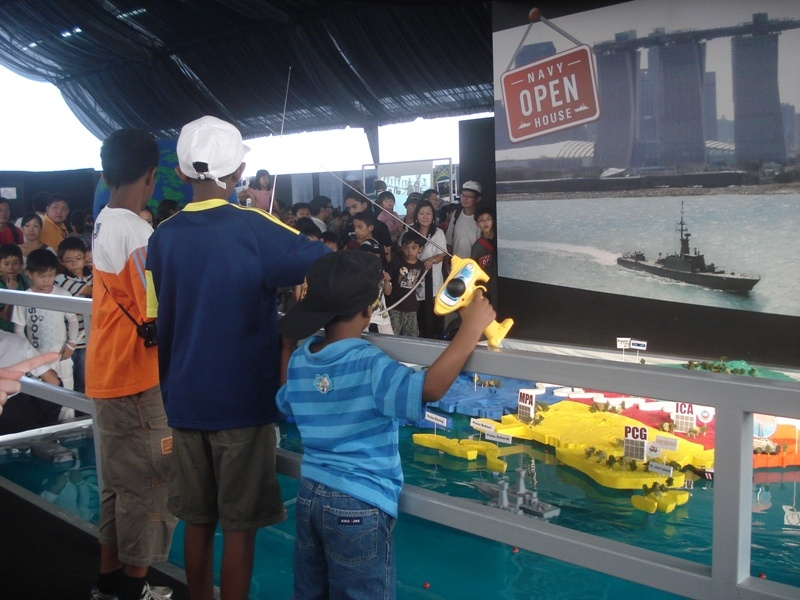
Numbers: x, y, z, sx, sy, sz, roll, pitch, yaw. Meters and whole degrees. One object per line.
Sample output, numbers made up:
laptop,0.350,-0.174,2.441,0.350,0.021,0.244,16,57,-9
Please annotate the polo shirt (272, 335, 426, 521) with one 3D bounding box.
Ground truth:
polo shirt,-0.110,0.324,1.589,0.392,0.445,0.131,4,5,23

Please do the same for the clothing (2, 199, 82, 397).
clothing,-2.718,0.121,4.725,0.410,1.005,1.539,-1,6,-32

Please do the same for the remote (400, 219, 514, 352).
remote,0.369,-0.132,4.175,0.367,1.197,0.373,-35,-8,-9

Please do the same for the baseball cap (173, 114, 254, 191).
baseball cap,-0.562,-0.439,1.872,0.159,0.122,0.238,1,49,4
